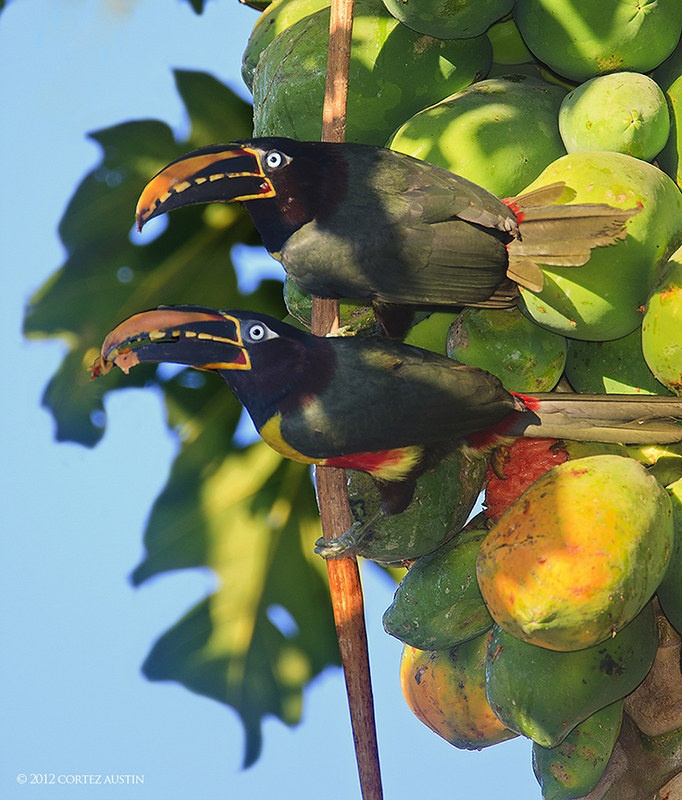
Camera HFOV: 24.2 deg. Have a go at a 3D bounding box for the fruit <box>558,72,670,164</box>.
[{"bbox_3d":[0.707,-0.715,4.062,0.226,0.239,0.269,1,46,-14],"label":"fruit"}]

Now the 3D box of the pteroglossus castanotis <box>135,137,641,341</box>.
[{"bbox_3d":[0.114,-0.450,4.059,1.311,0.490,0.461,-2,37,15],"label":"pteroglossus castanotis"}]
